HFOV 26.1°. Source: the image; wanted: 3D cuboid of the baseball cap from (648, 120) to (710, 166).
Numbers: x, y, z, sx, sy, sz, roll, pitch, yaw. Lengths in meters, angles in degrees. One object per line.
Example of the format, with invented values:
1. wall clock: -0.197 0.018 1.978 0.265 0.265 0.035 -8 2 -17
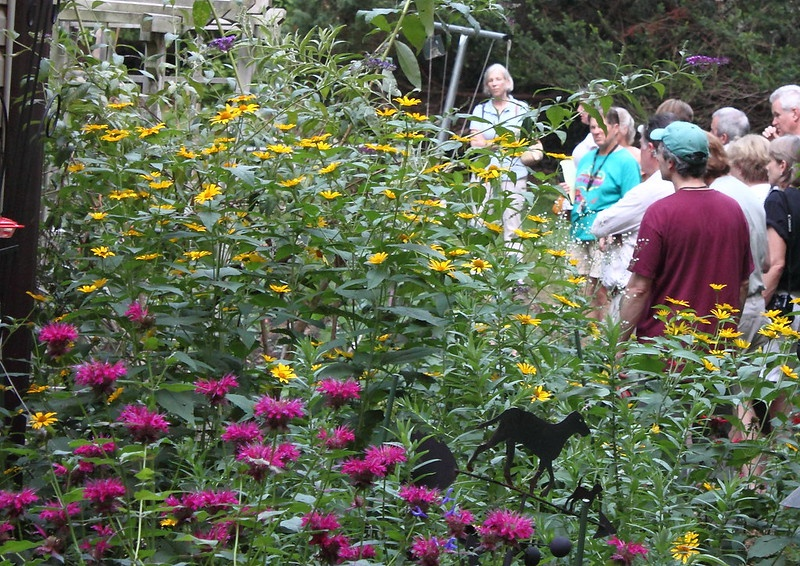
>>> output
1. baseball cap: 1.388 -0.709 8.556 0.188 0.114 0.253 -17 36 -40

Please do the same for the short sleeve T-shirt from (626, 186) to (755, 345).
1. short sleeve T-shirt: 1.433 -0.088 8.395 0.980 0.813 0.474 1 6 -2
